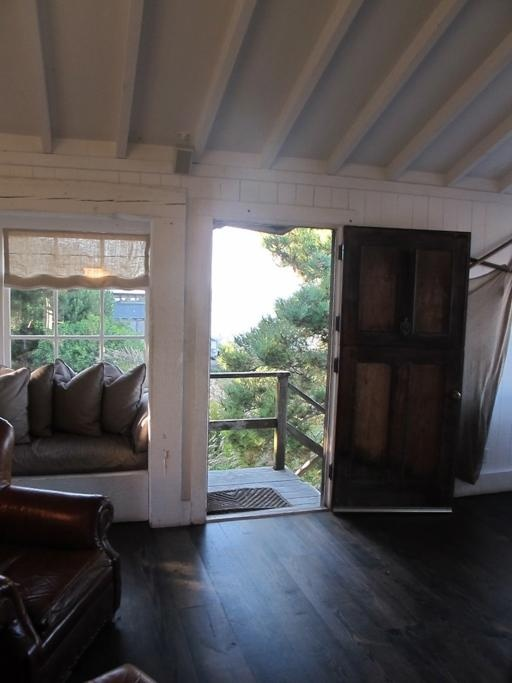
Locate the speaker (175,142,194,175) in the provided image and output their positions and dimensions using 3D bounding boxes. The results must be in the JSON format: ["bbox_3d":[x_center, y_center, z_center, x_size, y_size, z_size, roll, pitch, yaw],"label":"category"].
[{"bbox_3d":[-0.415,-1.049,3.043,0.107,0.147,0.183,1,4,-7],"label":"speaker"}]
